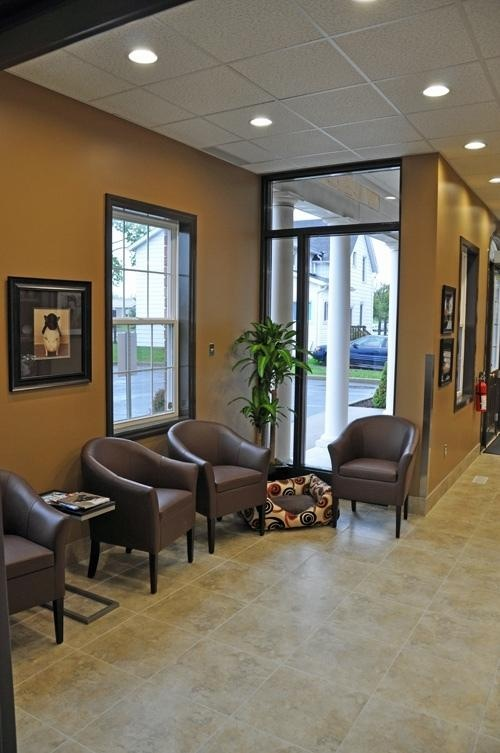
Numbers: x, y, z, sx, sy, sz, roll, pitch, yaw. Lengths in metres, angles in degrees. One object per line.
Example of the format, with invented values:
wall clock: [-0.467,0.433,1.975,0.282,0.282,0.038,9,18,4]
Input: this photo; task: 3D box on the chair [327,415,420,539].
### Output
chair: [1.001,0.761,4.468,0.636,0.829,0.571,3,5,28]

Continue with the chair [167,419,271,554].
chair: [-0.236,0.777,4.103,0.700,0.806,0.779,0,2,2]

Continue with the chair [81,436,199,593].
chair: [-0.696,0.795,3.467,0.584,0.782,0.721,0,2,11]
